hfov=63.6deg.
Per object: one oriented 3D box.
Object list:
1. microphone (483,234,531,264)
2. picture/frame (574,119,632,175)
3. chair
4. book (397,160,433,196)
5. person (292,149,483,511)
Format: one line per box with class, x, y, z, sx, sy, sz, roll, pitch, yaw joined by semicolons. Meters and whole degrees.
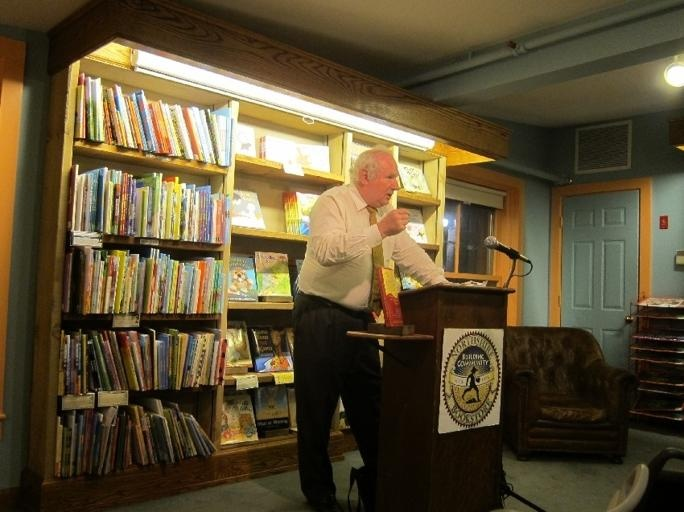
microphone;1.601;-0.069;5.430;0.535;0.127;0.120;25;-24;-18
picture/frame;3.093;-1.283;6.487;0.067;0.611;0.658;11;-10;-42
chair;1.923;1.154;4.778;1.060;1.043;0.923;-2;-3;8
book;0.641;-0.721;4.919;0.338;0.309;0.076;5;-18;-37
person;0.103;0.434;3.144;0.864;2.116;0.831;-2;-4;15
